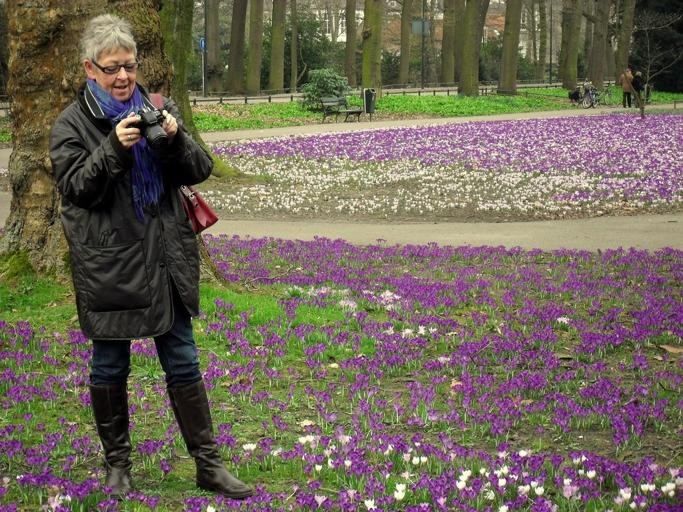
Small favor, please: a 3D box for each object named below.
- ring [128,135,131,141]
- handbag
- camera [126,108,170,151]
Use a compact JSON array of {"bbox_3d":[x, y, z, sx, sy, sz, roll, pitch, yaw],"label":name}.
[{"bbox_3d":[-1.696,-0.960,8.654,0.029,0.036,0.008,2,1,-40],"label":"ring"},{"bbox_3d":[-1.395,-0.797,9.326,0.559,1.139,0.319,-30,14,-9],"label":"handbag"},{"bbox_3d":[-1.538,-1.041,8.719,0.335,0.209,0.308,37,44,24],"label":"camera"}]
